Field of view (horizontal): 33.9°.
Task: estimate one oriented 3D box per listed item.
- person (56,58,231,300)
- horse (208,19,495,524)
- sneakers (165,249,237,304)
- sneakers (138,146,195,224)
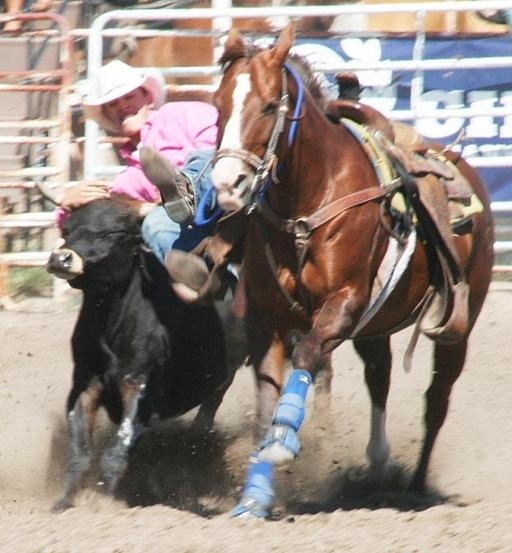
[{"bbox_3d":[-0.501,-0.505,3.921,0.709,0.945,0.689,-15,-2,-38],"label":"person"},{"bbox_3d":[0.393,0.055,3.490,0.660,1.881,1.676,-3,-7,38],"label":"horse"},{"bbox_3d":[-0.278,0.002,3.483,0.155,0.318,0.132,-46,8,26],"label":"sneakers"},{"bbox_3d":[-0.367,-0.388,3.517,0.132,0.347,0.258,-34,6,20],"label":"sneakers"}]
